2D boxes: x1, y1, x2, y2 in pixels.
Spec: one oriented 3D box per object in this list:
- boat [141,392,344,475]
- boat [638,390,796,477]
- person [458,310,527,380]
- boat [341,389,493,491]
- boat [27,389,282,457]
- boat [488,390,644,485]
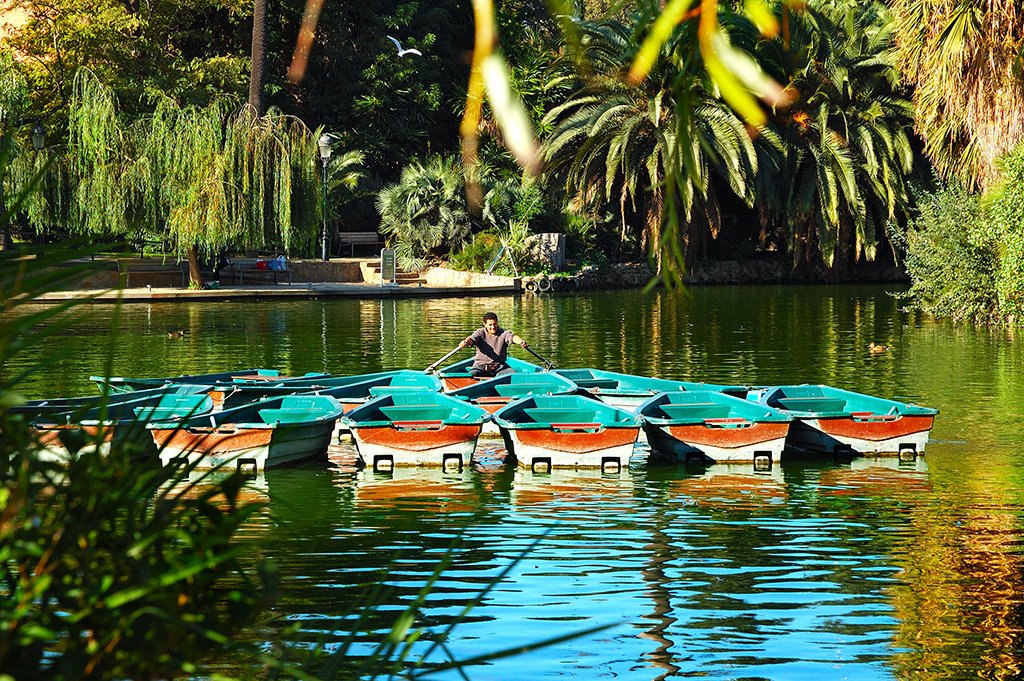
[{"bbox_3d":[-3.751,1.492,21.464,1.613,0.639,2.854,-1,2,13],"label":"boat"},{"bbox_3d":[3.258,1.378,23.242,2.371,1.219,1.765,-3,-2,23],"label":"boat"},{"bbox_3d":[-0.436,0.146,26.530,1.041,1.243,0.805,-11,37,-16],"label":"person"},{"bbox_3d":[-1.486,1.466,23.001,2.061,1.281,2.198,-2,-2,-6],"label":"boat"},{"bbox_3d":[-3.919,0.941,16.653,1.667,0.389,1.054,-6,12,-21],"label":"boat"},{"bbox_3d":[0.778,1.445,23.010,2.054,1.176,2.118,-2,-2,-16],"label":"boat"}]
